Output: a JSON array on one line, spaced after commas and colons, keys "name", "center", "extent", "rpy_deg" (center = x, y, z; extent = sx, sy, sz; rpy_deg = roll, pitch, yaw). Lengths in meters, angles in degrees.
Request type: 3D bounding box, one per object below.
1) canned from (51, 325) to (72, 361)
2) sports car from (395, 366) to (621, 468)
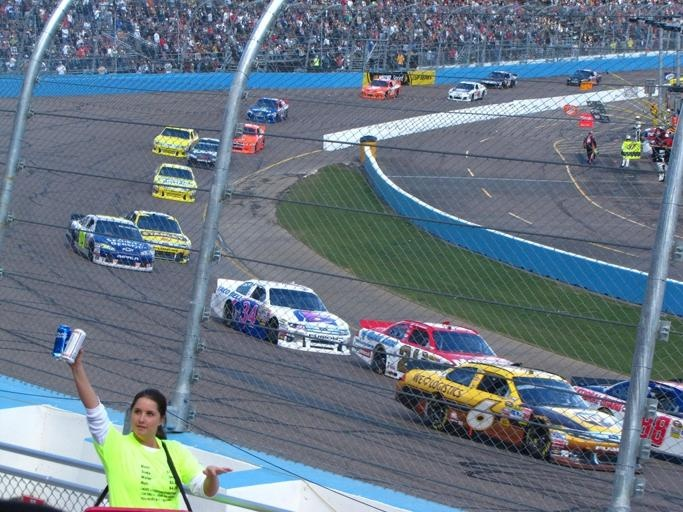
[{"name": "canned", "center": [-1.919, 0.610, 10.806], "extent": [0.140, 0.217, 0.133], "rpy_deg": [13, -6, -36]}, {"name": "sports car", "center": [1.446, 1.298, 12.456], "extent": [1.891, 0.587, 0.852], "rpy_deg": [9, 4, 33]}]
